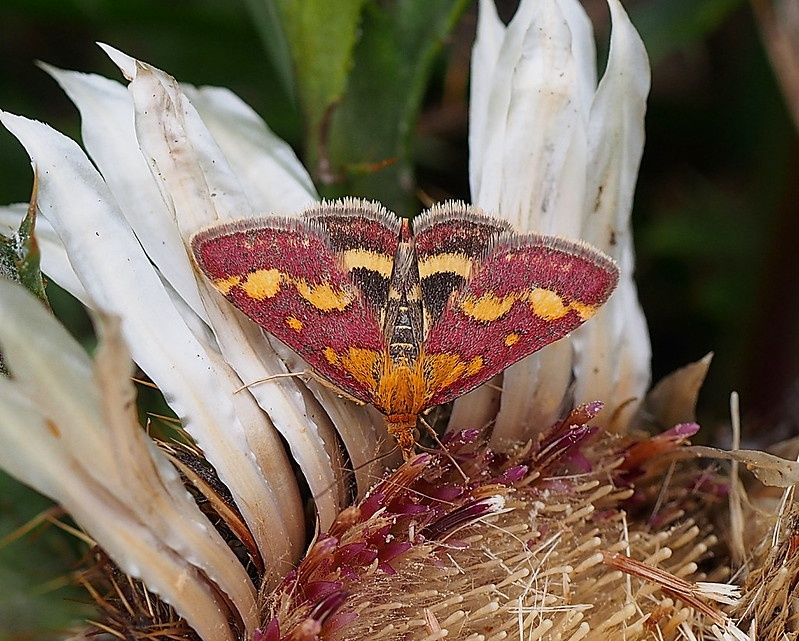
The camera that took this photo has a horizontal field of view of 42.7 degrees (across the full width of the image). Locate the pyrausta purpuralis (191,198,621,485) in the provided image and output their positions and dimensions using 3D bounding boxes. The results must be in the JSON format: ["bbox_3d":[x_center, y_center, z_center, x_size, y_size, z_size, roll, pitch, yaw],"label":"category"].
[{"bbox_3d":[-0.010,0.019,1.065,0.432,0.298,0.116,0,3,-7],"label":"pyrausta purpuralis"}]
